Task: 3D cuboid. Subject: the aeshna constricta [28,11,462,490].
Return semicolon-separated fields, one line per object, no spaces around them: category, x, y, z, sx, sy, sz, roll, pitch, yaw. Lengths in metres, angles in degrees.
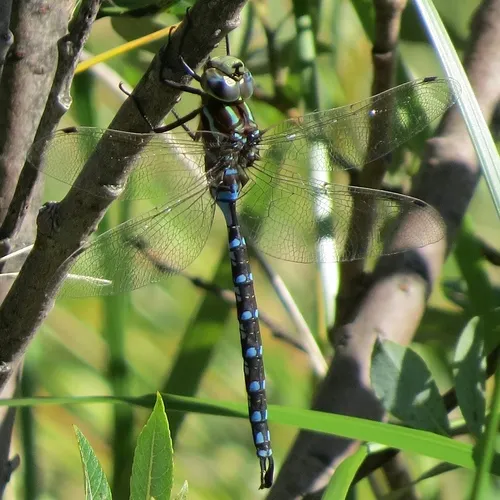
aeshna constricta;0.016;-0.092;1.093;0.477;0.290;0.744;-5;-91;-9
